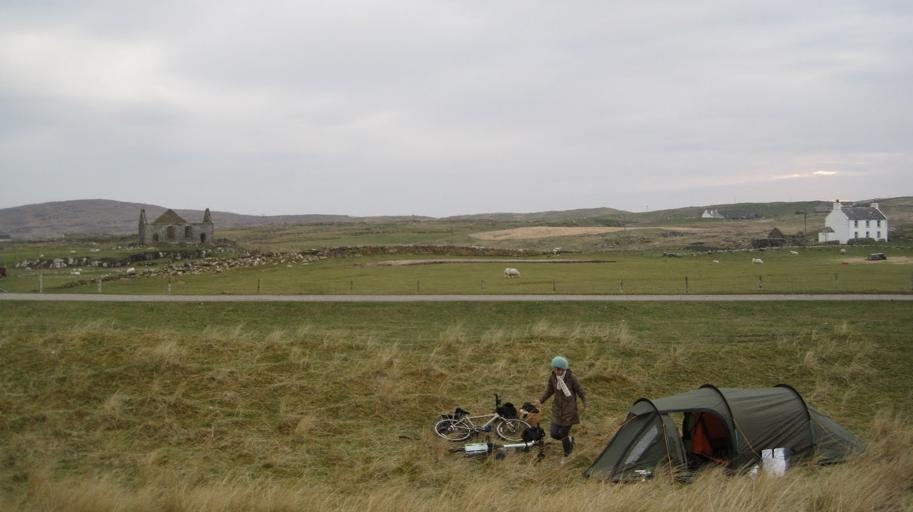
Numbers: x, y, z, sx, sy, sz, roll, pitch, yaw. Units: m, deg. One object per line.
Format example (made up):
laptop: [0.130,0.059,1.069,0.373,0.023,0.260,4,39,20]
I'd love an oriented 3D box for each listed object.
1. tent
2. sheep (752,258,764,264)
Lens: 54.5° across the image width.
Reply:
tent: [16.682,11.405,55.383,19.648,5.443,7.400,1,-3,-35]
sheep: [37.691,0.704,110.918,1.608,0.613,0.914,-2,5,8]
